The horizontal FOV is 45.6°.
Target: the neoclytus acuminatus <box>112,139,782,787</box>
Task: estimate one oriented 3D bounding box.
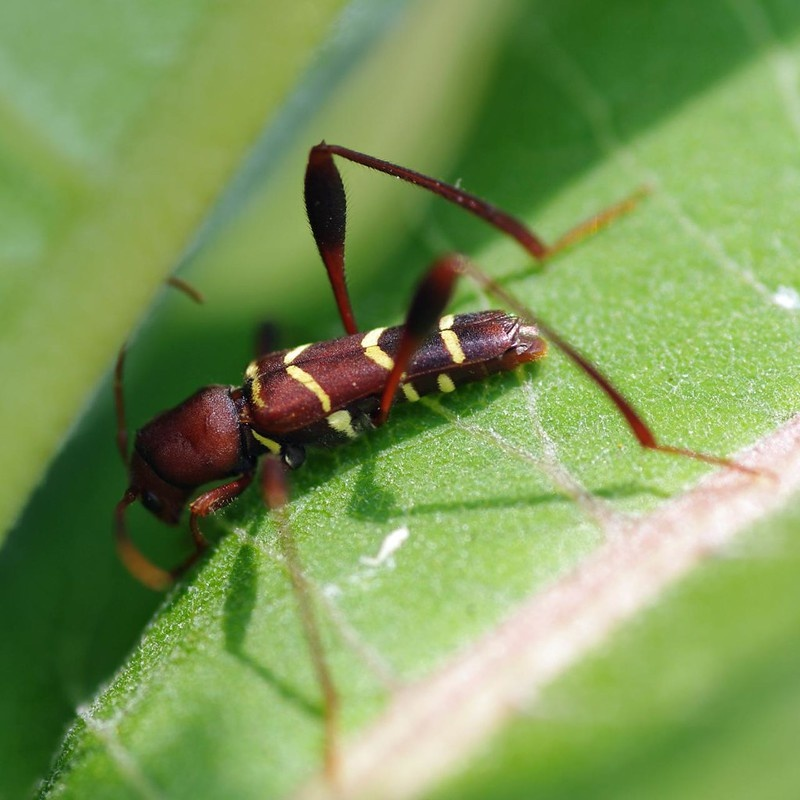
[{"bbox_3d":[-0.108,-0.113,4.212,2.585,0.942,3.095,-28,2,6],"label":"neoclytus acuminatus"}]
